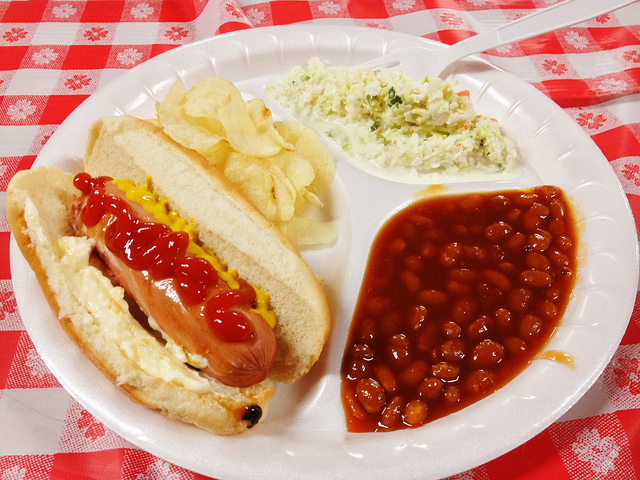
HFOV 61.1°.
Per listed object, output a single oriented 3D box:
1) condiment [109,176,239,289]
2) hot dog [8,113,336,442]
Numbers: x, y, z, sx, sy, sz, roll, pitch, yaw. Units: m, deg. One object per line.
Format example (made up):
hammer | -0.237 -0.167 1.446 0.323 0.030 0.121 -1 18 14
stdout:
condiment | -0.759 -0.022 2.845 0.619 0.486 0.375 20 114 38
hot dog | -0.788 0.173 2.942 1.843 0.569 1.182 39 81 11
